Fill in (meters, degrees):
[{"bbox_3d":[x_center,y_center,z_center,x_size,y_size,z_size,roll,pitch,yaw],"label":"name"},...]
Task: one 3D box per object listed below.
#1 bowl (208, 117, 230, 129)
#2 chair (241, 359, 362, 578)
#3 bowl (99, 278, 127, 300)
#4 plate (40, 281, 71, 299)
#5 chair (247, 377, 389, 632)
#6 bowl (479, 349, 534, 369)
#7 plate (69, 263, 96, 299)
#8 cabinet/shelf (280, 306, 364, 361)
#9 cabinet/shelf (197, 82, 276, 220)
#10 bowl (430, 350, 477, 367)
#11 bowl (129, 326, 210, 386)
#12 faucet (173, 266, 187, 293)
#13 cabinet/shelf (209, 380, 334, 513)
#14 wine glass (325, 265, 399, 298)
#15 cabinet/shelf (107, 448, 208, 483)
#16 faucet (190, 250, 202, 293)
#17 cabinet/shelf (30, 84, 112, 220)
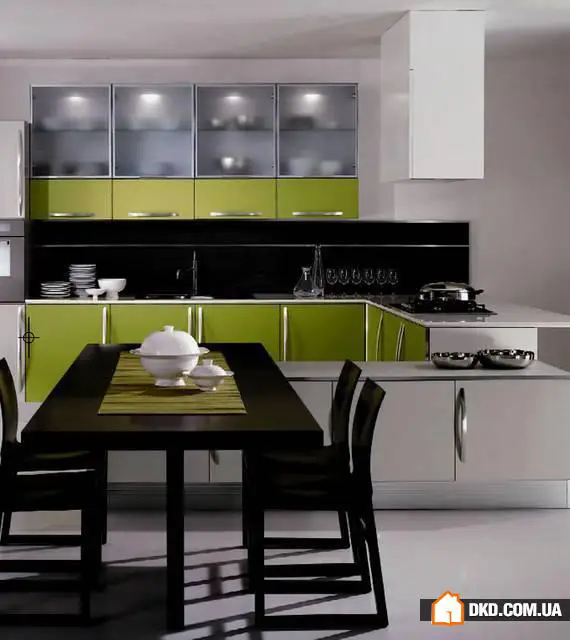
[{"bbox_3d":[-0.511,-1.522,4.884,0.139,0.084,0.018,1,0,-1],"label":"bowl"},{"bbox_3d":[0.087,0.480,2.284,0.354,0.581,0.357,-3,-9,14],"label":"chair"},{"bbox_3d":[-1.382,-0.264,5.048,0.166,0.153,0.182,-1,-2,0],"label":"bowl"},{"bbox_3d":[-1.824,-0.246,5.021,0.236,0.153,0.385,1,0,-21],"label":"plate"},{"bbox_3d":[0.141,0.536,2.298,0.545,1.163,0.604,1,3,-2],"label":"chair"},{"bbox_3d":[1.043,0.184,2.974,0.269,0.075,0.181,1,0,-32],"label":"bowl"},{"bbox_3d":[-1.635,-0.308,5.112,0.236,0.305,0.240,0,-2,-33],"label":"plate"},{"bbox_3d":[0.328,0.083,4.903,0.592,0.515,0.386,0,1,-1],"label":"cabinet/shelf"},{"bbox_3d":[-0.390,-1.215,5.101,0.580,1.229,0.371,0,-4,1],"label":"cabinet/shelf"},{"bbox_3d":[0.808,0.193,3.013,0.217,0.069,0.158,1,0,10],"label":"bowl"},{"bbox_3d":[-0.390,0.114,2.133,0.174,0.168,0.192,0,-2,-5],"label":"bowl"},{"bbox_3d":[-0.891,-0.340,5.414,0.118,0.221,0.060,1,0,-10],"label":"faucet"},{"bbox_3d":[-0.072,0.398,2.762,0.545,0.305,0.327,-15,-28,-7],"label":"cabinet/shelf"},{"bbox_3d":[0.728,-0.318,5.270,0.770,0.342,0.255,-1,8,-3],"label":"wine glass"},{"bbox_3d":[-0.650,0.682,3.044,0.317,0.197,0.082,2,8,4],"label":"cabinet/shelf"},{"bbox_3d":[-0.764,-0.409,5.368,0.076,0.384,0.175,1,0,-11],"label":"faucet"},{"bbox_3d":[-1.645,-1.298,4.852,0.599,1.054,0.276,1,0,-17],"label":"cabinet/shelf"}]
